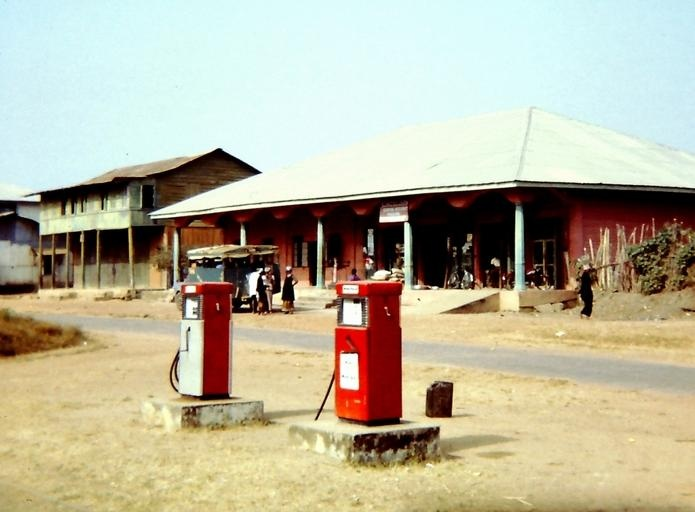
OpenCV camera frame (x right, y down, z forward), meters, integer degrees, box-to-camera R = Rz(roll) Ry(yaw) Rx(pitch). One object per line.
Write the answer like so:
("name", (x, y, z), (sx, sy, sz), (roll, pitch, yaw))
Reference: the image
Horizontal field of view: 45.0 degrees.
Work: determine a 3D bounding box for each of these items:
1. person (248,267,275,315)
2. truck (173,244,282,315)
("person", (-3.224, 1.253, 30.934), (0.850, 1.692, 2.908), (0, -3, -6))
("truck", (-4.085, 0.501, 31.593), (2.761, 2.672, 4.114), (-4, -5, 35))
